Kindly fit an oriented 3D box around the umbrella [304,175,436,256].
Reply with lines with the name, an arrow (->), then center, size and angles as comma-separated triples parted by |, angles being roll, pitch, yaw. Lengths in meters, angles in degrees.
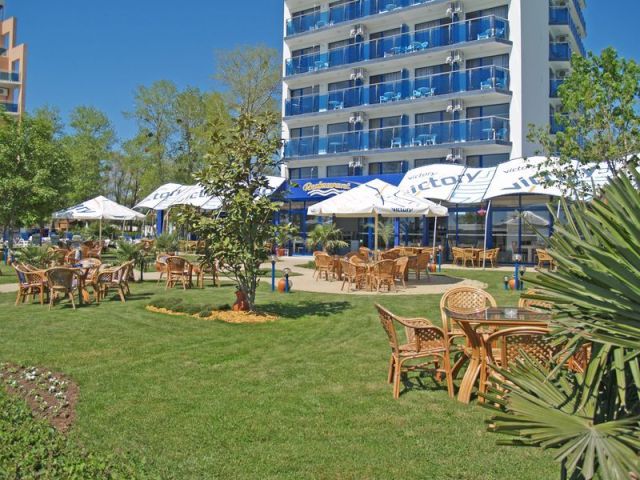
umbrella -> 1.579, -1.272, 21.105 | 3.002, 2.342, 3.194 | -1, 3, 13
